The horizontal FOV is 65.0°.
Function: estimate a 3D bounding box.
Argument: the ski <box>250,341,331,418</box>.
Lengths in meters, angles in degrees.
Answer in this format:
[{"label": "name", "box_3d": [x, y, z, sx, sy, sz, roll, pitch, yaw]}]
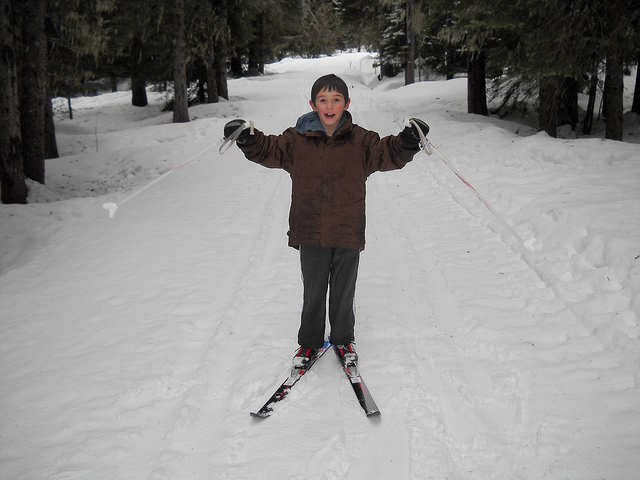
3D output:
[{"label": "ski", "box_3d": [-0.344, 1.713, 6.010, 0.164, 0.108, 1.213, 19, 39, 20]}]

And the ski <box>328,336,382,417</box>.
[{"label": "ski", "box_3d": [0.404, 1.584, 6.090, 0.153, 0.078, 1.459, -37, 29, 6]}]
